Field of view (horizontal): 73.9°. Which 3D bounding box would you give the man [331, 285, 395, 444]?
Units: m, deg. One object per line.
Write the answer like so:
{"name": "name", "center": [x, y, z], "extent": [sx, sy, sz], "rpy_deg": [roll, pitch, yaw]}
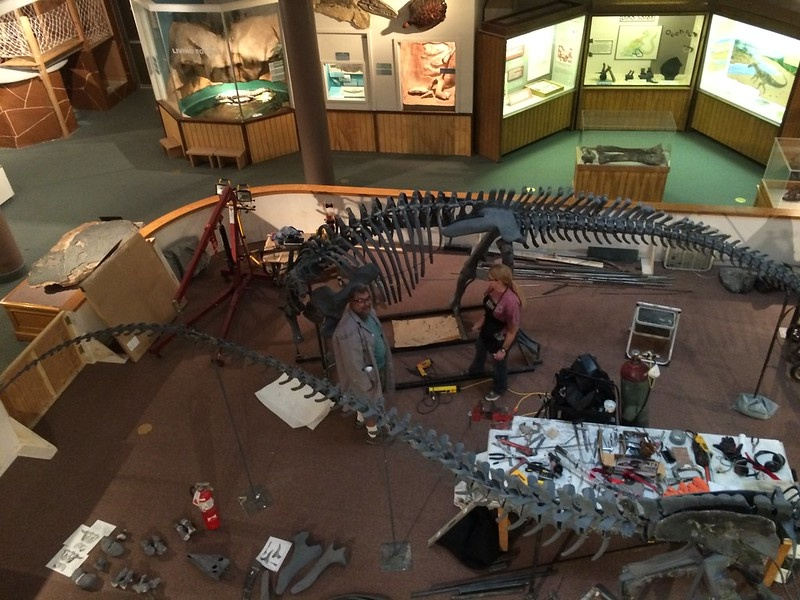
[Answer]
{"name": "man", "center": [-0.392, 0.697, 5.324], "extent": [0.562, 1.660, 0.749], "rpy_deg": [6, 51, 13]}

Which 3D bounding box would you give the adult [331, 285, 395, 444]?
{"name": "adult", "center": [-0.392, 0.697, 5.324], "extent": [0.562, 1.660, 0.749], "rpy_deg": [6, 51, 13]}

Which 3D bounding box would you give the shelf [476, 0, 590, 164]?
{"name": "shelf", "center": [2.490, -4.215, 10.249], "extent": [2.589, 2.811, 0.905], "rpy_deg": [-30, 50, -25]}

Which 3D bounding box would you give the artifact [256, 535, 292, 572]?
{"name": "artifact", "center": [-1.196, 2.381, 5.031], "extent": [0.229, 0.061, 0.238], "rpy_deg": [15, 47, 23]}

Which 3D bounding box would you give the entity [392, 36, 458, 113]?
{"name": "entity", "center": [0.510, -4.311, 10.451], "extent": [1.472, 1.394, 0.995], "rpy_deg": [1, 67, 2]}

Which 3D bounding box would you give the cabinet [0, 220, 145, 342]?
{"name": "cabinet", "center": [-4.260, -0.195, 6.947], "extent": [0.978, 0.798, 1.681], "rpy_deg": [14, 49, 15]}

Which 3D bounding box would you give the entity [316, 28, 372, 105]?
{"name": "entity", "center": [-1.078, -4.645, 10.620], "extent": [1.086, 1.279, 0.983], "rpy_deg": [-6, 38, -8]}

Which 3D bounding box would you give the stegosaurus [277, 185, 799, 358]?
{"name": "stegosaurus", "center": [1.916, -0.274, 6.906], "extent": [5.368, 1.847, 1.088], "rpy_deg": [5, 48, 7]}

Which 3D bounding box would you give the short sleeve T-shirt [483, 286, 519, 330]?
{"name": "short sleeve T-shirt", "center": [1.102, 0.092, 5.734], "extent": [0.196, 0.281, 0.361], "rpy_deg": [-17, 40, -19]}

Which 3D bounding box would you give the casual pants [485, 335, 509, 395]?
{"name": "casual pants", "center": [1.085, 0.732, 6.108], "extent": [0.318, 0.917, 0.298], "rpy_deg": [4, 30, 16]}

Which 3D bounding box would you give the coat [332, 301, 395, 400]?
{"name": "coat", "center": [-0.395, 0.548, 5.406], "extent": [0.381, 1.109, 0.437], "rpy_deg": [10, 57, 16]}
